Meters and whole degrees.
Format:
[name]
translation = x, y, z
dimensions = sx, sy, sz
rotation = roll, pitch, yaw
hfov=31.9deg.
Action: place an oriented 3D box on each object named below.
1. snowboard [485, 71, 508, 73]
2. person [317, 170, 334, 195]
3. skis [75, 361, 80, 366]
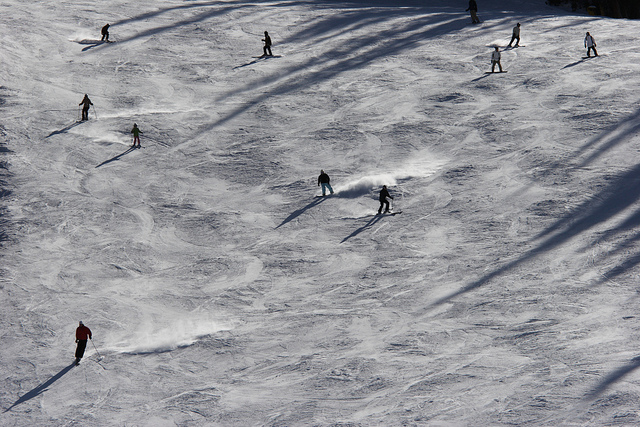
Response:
[snowboard]
translation = 11.818, -9.531, 75.188
dimensions = 1.242, 0.135, 0.227
rotation = -1, 29, -2
[person]
translation = 0.277, -1.951, 65.929
dimensions = 0.907, 1.505, 1.073
rotation = -2, 34, -2
[skis]
translation = -12.139, 7.442, 55.819
dimensions = 0.250, 0.196, 0.086
rotation = -35, 31, -23
